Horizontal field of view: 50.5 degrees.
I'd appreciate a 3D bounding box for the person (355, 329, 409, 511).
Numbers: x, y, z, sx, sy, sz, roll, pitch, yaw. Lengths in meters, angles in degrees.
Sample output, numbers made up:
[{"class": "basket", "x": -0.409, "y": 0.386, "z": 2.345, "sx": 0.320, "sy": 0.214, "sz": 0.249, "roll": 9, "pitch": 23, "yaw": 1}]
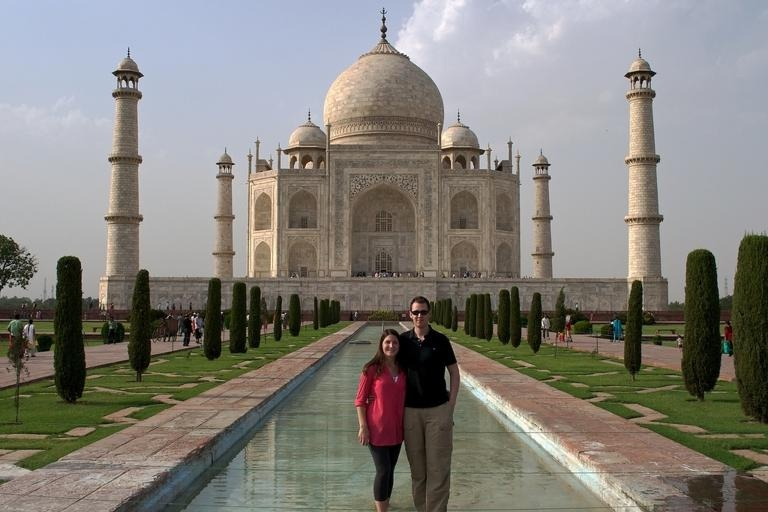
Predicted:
[{"class": "person", "x": -0.002, "y": 1.246, "z": 6.223, "sx": 0.390, "sy": 1.374, "sz": 0.214, "roll": -3, "pitch": -4, "yaw": 8}]
